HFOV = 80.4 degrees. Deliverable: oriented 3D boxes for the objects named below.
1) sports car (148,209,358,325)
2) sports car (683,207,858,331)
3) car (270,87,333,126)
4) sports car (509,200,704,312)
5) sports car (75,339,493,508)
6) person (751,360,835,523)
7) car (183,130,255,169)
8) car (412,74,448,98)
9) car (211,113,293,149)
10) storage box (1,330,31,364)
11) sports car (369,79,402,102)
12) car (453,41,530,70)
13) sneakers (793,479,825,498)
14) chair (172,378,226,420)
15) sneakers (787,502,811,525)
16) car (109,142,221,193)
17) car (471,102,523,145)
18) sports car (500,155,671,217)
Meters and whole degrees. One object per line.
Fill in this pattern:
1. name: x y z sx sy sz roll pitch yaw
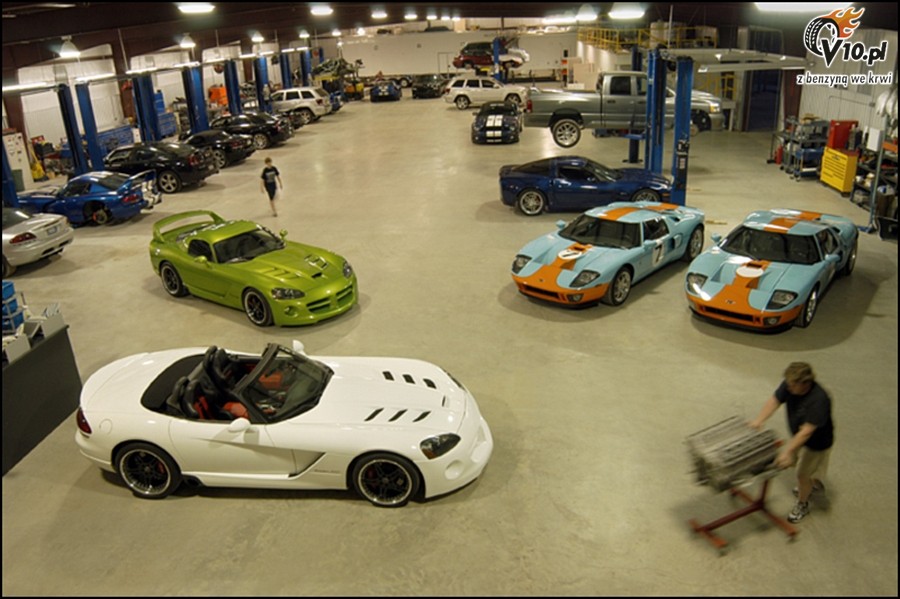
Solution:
1. sports car: -4.343 -0.759 11.286 4.697 1.304 2.225 15 28 24
2. sports car: 6.450 -0.925 10.567 2.302 1.172 4.354 20 40 39
3. car: -8.419 -11.200 31.007 3.432 1.383 1.941 6 31 4
4. sports car: 3.545 -1.179 11.186 4.059 1.008 2.026 -26 31 -33
5. sports car: -2.280 1.525 7.468 5.503 1.457 2.220 1 23 5
6. person: 3.939 1.587 6.072 0.718 1.833 1.001 12 31 37
7. car: -10.312 -6.433 22.778 3.219 0.925 1.659 8 26 16
8. car: -1.475 -15.746 39.508 1.654 1.003 3.394 -2 20 6
9. car: -9.105 -8.089 25.500 4.250 1.249 1.700 6 26 3
10. storage box: -6.277 0.664 7.654 0.200 0.313 0.514 -5 23 5
11. sports car: -4.487 -14.843 37.998 1.730 1.363 1.785 -1 24 12
12. car: 3.116 -19.120 41.933 5.512 1.670 2.612 -2 26 6
13. sneakers: 4.278 2.223 6.324 0.366 0.240 0.118 -21 53 12
14. chair: -3.260 1.268 6.883 0.459 0.359 0.303 8 38 20
15. sneakers: 4.061 2.461 6.181 0.253 0.111 0.083 -38 47 1
16. car: -10.648 -5.040 19.479 3.897 1.168 1.689 9 27 8
17. car: 2.157 -8.033 24.389 2.004 1.636 2.184 0 24 15
18. sports car: 3.638 -3.276 15.103 3.825 1.087 2.118 -1 22 6
